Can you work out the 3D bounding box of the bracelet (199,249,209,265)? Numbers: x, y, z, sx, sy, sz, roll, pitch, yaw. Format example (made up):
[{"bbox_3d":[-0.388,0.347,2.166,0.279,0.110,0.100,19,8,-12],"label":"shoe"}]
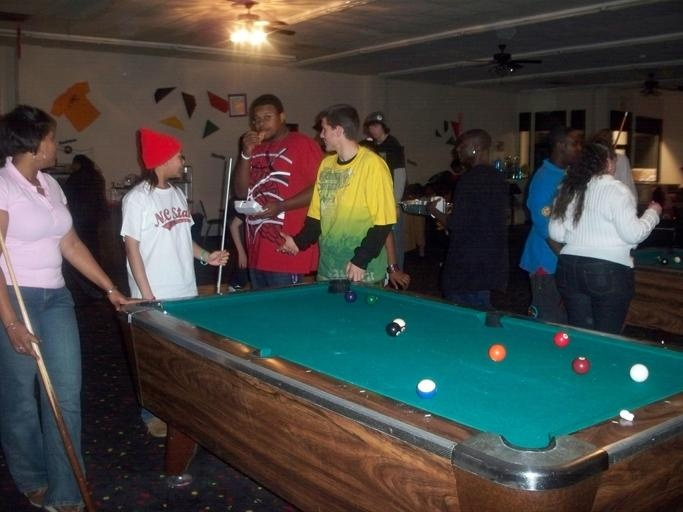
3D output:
[{"bbox_3d":[-0.763,0.007,3.012,0.075,0.066,0.019,16,27,23],"label":"bracelet"}]

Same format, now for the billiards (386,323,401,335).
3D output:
[{"bbox_3d":[0.208,0.290,2.136,0.056,0.041,0.053,-7,-18,7],"label":"billiards"}]

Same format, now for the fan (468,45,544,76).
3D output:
[{"bbox_3d":[2.728,-3.260,8.900,1.113,0.412,1.012,-2,2,-12],"label":"fan"}]

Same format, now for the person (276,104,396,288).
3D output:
[{"bbox_3d":[-0.018,-0.337,3.047,0.481,1.007,0.621,-10,17,-25],"label":"person"}]

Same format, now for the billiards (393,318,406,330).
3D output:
[{"bbox_3d":[0.233,0.280,2.198,0.054,0.038,0.040,2,0,34],"label":"billiards"}]

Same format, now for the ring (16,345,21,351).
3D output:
[{"bbox_3d":[-1.307,0.373,2.175,0.027,0.022,0.010,6,25,20],"label":"ring"}]

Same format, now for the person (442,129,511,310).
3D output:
[{"bbox_3d":[0.861,-0.215,3.439,0.431,1.158,0.559,1,16,14],"label":"person"}]

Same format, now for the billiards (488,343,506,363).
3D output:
[{"bbox_3d":[0.552,0.344,1.900,0.063,0.052,0.032,-10,-10,-2],"label":"billiards"}]

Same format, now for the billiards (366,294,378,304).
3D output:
[{"bbox_3d":[0.157,0.212,2.644,0.039,0.025,0.045,-5,6,-16],"label":"billiards"}]

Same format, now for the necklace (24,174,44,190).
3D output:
[{"bbox_3d":[-1.340,-0.322,2.337,0.027,0.062,0.071,-3,4,32],"label":"necklace"}]

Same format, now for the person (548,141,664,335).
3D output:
[{"bbox_3d":[1.405,-0.093,2.926,0.345,1.060,0.436,-6,16,-12],"label":"person"}]

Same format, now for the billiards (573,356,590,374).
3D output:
[{"bbox_3d":[0.793,0.358,1.782,0.057,0.049,0.052,-5,2,7],"label":"billiards"}]

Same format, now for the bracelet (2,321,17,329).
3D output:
[{"bbox_3d":[-1.339,0.278,2.161,0.079,0.030,0.019,3,16,22],"label":"bracelet"}]

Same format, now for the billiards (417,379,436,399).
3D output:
[{"bbox_3d":[0.258,0.402,1.630,0.053,0.021,0.052,-9,10,-40],"label":"billiards"}]

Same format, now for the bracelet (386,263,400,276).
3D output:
[{"bbox_3d":[0.301,0.079,3.110,0.059,0.041,0.056,-26,6,-4],"label":"bracelet"}]

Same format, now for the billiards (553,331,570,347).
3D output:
[{"bbox_3d":[0.834,0.309,2.032,0.056,0.043,0.090,4,14,23],"label":"billiards"}]

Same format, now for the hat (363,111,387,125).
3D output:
[{"bbox_3d":[0.305,-1.241,4.838,0.179,0.087,0.137,14,18,41],"label":"hat"}]
